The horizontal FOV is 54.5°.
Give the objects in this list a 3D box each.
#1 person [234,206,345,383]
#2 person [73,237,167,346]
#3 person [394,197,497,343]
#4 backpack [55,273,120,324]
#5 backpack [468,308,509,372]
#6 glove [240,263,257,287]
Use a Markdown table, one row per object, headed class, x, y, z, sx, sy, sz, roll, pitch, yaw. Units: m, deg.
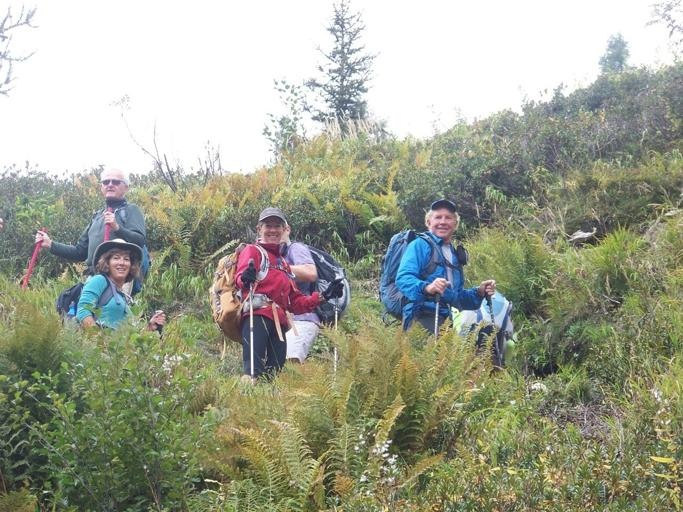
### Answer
| class | x | y | z | sx | sy | sz | roll | pitch | yaw |
| --- | --- | --- | --- | --- | --- | --- | --- | --- | --- |
| person | -0.750 | 0.450 | 7.851 | 1.028 | 2.009 | 0.884 | 2 | -13 | -15 |
| person | -2.626 | 0.481 | 7.746 | 0.797 | 1.252 | 0.635 | 8 | -23 | -38 |
| person | 1.138 | 0.101 | 7.735 | 1.033 | 1.581 | 0.917 | -1 | -13 | -4 |
| backpack | -3.322 | 0.598 | 8.421 | 0.518 | 0.539 | 0.351 | 16 | 15 | -11 |
| backpack | 1.716 | 0.990 | 7.694 | 0.217 | 0.752 | 0.646 | 7 | 13 | -14 |
| glove | -1.058 | 0.217 | 7.554 | 0.176 | 0.273 | 0.295 | -1 | -13 | -6 |
